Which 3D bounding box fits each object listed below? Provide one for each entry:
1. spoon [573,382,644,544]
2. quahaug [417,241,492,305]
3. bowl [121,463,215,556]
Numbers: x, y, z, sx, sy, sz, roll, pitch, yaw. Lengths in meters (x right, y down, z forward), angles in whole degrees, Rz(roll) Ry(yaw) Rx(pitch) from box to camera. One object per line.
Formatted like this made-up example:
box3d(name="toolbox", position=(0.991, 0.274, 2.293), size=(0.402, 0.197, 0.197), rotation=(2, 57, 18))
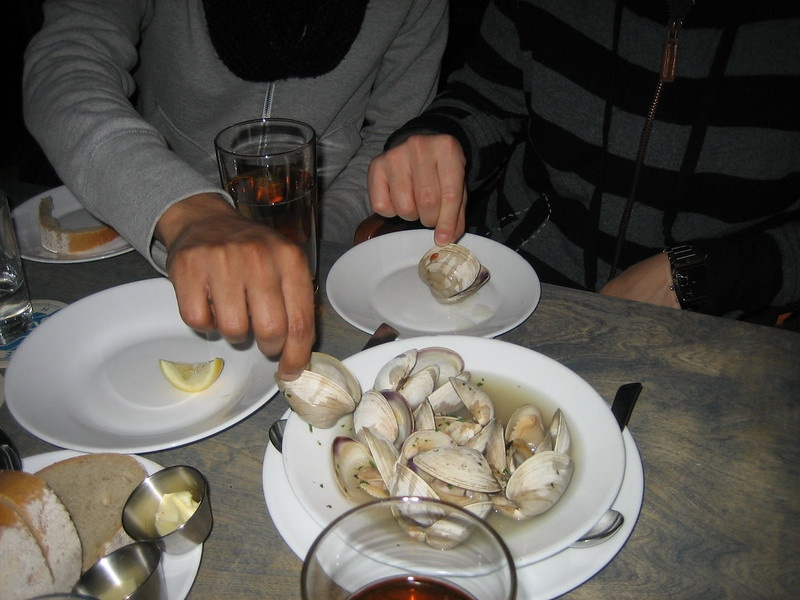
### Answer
box3d(name="spoon", position=(0.427, 0.267, 1.120), size=(0.097, 0.066, 0.406), rotation=(4, 36, 33))
box3d(name="quahaug", position=(0.135, -0.073, 1.503), size=(0.137, 0.069, 0.165), rotation=(37, 58, 19))
box3d(name="bowl", position=(-0.401, 0.360, 1.031), size=(0.133, 0.070, 0.133), rotation=(-16, 44, 17))
